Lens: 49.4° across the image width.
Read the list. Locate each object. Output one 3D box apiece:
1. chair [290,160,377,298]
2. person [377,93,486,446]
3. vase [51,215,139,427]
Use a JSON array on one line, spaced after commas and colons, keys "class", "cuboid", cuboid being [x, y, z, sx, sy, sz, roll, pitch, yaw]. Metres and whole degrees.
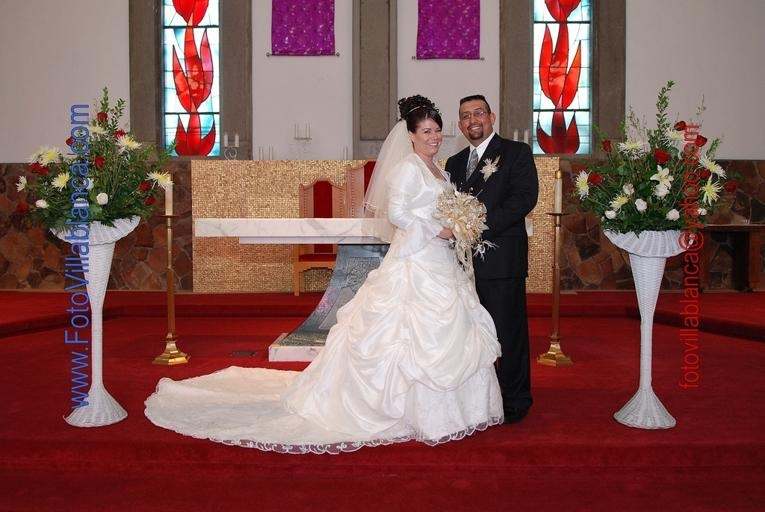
[{"class": "chair", "cuboid": [-0.714, -0.381, 11.535, 1.101, 1.835, 0.736, 1, 8, -3]}, {"class": "person", "cuboid": [0.435, 0.389, 7.508, 1.182, 2.498, 0.675, 1, 8, -2]}, {"class": "vase", "cuboid": [-2.601, 0.598, 7.618, 0.562, 1.888, 0.456, 2, 8, 7]}]
